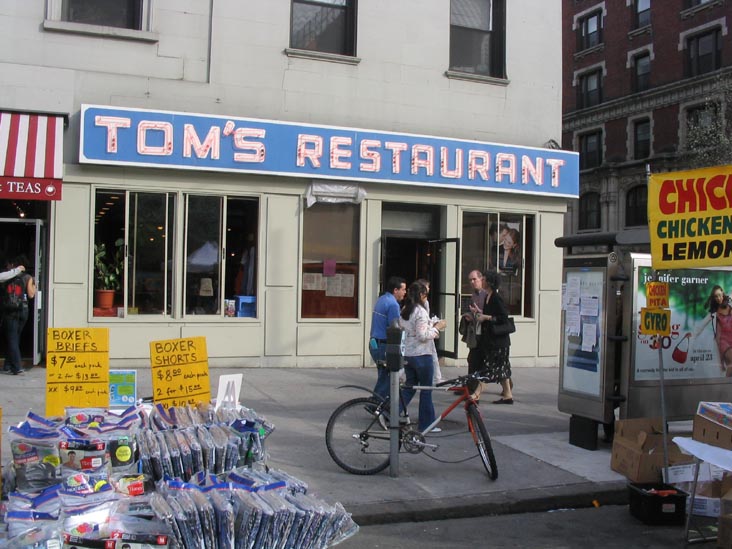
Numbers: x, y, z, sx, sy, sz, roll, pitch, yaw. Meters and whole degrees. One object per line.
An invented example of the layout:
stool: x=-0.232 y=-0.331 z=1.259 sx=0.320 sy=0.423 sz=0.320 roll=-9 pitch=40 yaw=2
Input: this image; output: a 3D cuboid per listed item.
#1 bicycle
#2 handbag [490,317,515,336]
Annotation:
bicycle: x=0.554 y=1.815 z=10.101 sx=2.006 sy=1.189 sz=1.305 roll=0 pitch=-1 yaw=5
handbag: x=2.054 y=0.798 z=12.430 sx=0.263 sy=0.251 sz=0.088 roll=0 pitch=-8 yaw=-30
